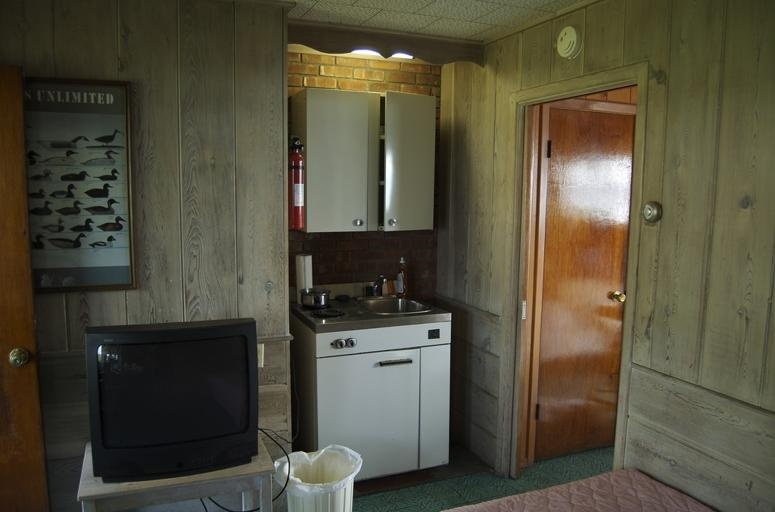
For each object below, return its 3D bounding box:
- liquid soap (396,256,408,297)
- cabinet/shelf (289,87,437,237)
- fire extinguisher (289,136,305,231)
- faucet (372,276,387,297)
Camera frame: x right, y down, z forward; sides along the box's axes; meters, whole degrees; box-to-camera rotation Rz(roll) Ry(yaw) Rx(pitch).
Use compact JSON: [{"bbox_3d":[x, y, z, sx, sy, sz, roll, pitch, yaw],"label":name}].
[{"bbox_3d":[0.109,0.180,4.583,0.071,0.321,0.216,0,7,9],"label":"liquid soap"},{"bbox_3d":[0.015,-0.675,4.368,1.118,1.008,0.615,4,7,24],"label":"cabinet/shelf"},{"bbox_3d":[-0.636,-0.500,4.103,0.119,0.637,0.182,-2,7,-3],"label":"fire extinguisher"},{"bbox_3d":[-0.062,0.240,4.498,0.106,0.145,0.070,-1,7,-1],"label":"faucet"}]
